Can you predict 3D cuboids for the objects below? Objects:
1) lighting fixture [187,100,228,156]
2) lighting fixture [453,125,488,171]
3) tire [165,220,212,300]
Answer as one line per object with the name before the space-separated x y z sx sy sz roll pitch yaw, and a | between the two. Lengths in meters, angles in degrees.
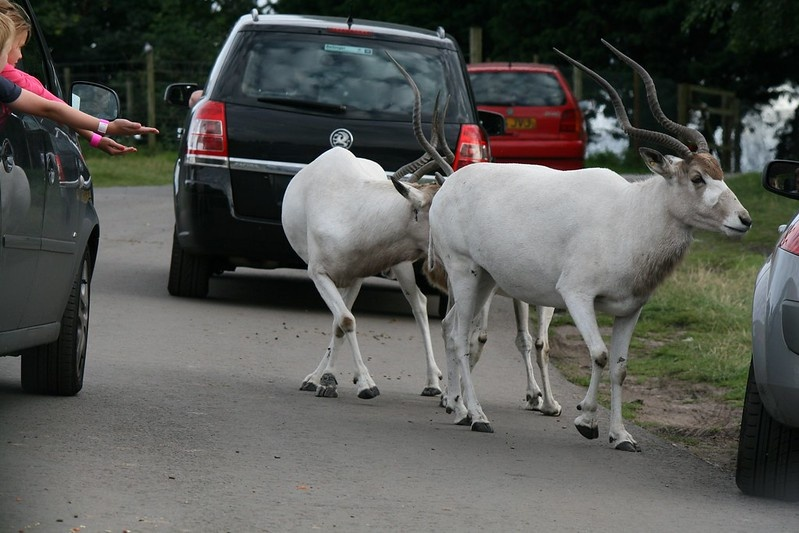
lighting fixture | -1.864 -1.335 10.407 0.457 0.529 0.148 10 10 32
lighting fixture | 0.684 -1.188 10.446 0.290 0.264 0.506 0 10 10
tire | -2.259 -0.219 11.569 0.422 1.051 1.053 7 16 -7
